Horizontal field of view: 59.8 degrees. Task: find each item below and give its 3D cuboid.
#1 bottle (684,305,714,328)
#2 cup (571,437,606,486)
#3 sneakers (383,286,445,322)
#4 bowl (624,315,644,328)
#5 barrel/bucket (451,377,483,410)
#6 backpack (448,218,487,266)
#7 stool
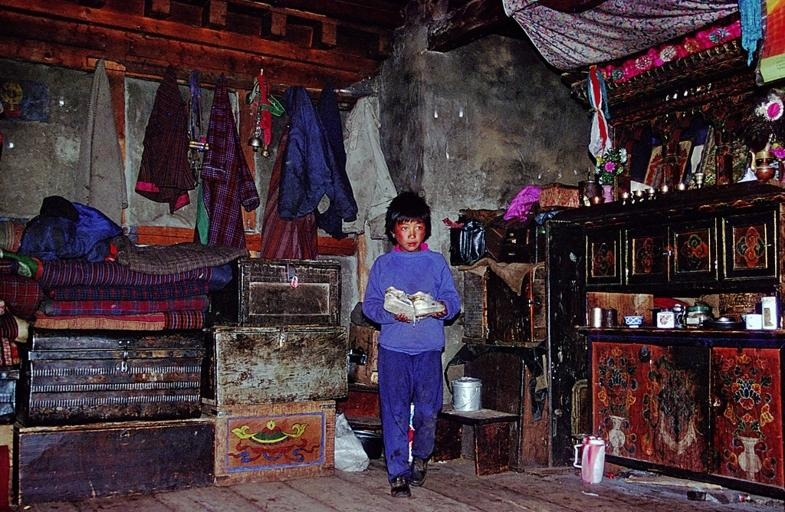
[{"bbox_3d":[2.545,0.502,5.681,0.184,0.180,0.192,1,0,19],"label":"bottle"},{"bbox_3d":[1.680,1.735,5.781,0.344,0.463,0.340,4,-6,0],"label":"cup"},{"bbox_3d":[0.129,0.374,5.264,0.557,0.227,0.201,8,1,-19],"label":"sneakers"},{"bbox_3d":[2.112,0.583,5.985,0.114,0.081,0.115,1,-7,0],"label":"bowl"},{"bbox_3d":[0.691,1.294,6.335,0.264,0.262,0.281,1,-2,0],"label":"barrel/bucket"},{"bbox_3d":[0.736,-0.132,6.904,0.260,0.462,0.461,-8,6,-25],"label":"backpack"},{"bbox_3d":[0.723,1.710,6.330,0.424,0.480,0.789,2,-6,-25],"label":"stool"}]
